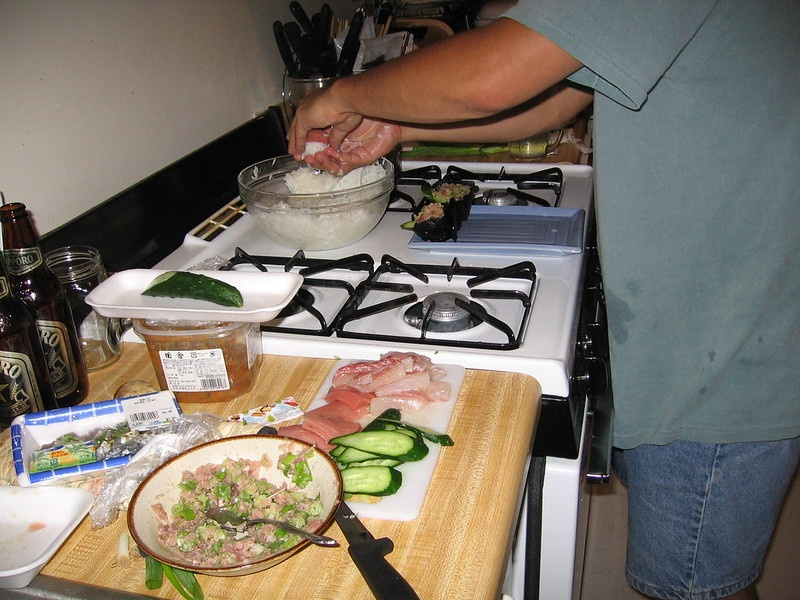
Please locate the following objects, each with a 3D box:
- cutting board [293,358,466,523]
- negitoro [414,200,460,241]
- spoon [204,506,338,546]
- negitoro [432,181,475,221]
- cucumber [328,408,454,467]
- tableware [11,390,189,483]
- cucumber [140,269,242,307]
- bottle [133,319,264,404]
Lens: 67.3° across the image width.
[{"bbox_3d":[-0.036,0.197,0.846,0.176,0.013,0.290,4,40,13],"label":"cutting board"},{"bbox_3d":[0.090,-0.188,1.507,0.094,0.084,0.113,-3,28,12],"label":"negitoro"},{"bbox_3d":[-0.169,0.304,0.808,0.175,0.023,0.031,9,36,19],"label":"spoon"},{"bbox_3d":[0.144,-0.278,1.599,0.093,0.048,0.132,4,28,9],"label":"negitoro"},{"bbox_3d":[-0.020,0.215,0.904,0.119,0.025,0.071,-12,43,-19],"label":"cucumber"},{"bbox_3d":[-0.473,0.225,0.969,0.224,0.047,0.128,-14,50,-14],"label":"tableware"},{"bbox_3d":[-0.340,-0.024,1.010,0.186,0.038,0.058,10,38,13],"label":"cucumber"},{"bbox_3d":[-0.336,0.086,0.999,0.154,0.110,0.164,1,12,0],"label":"bottle"}]
